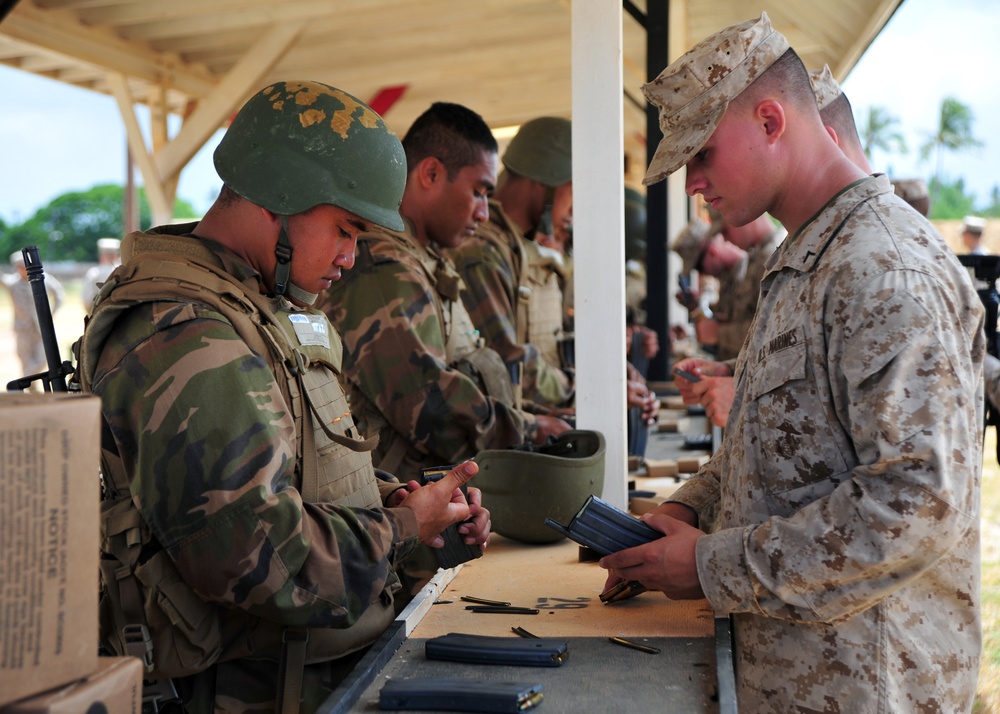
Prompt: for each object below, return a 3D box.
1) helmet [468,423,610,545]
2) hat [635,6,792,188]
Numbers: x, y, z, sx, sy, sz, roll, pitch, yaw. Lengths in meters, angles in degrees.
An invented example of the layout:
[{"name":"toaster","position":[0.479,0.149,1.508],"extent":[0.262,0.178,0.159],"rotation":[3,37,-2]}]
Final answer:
[{"name":"helmet","position":[0.138,0.427,4.024],"extent":[0.373,0.315,0.354],"rotation":[0,-5,1]},{"name":"hat","position":[0.656,-0.811,3.526],"extent":[0.653,0.252,0.425],"rotation":[-38,2,14]}]
